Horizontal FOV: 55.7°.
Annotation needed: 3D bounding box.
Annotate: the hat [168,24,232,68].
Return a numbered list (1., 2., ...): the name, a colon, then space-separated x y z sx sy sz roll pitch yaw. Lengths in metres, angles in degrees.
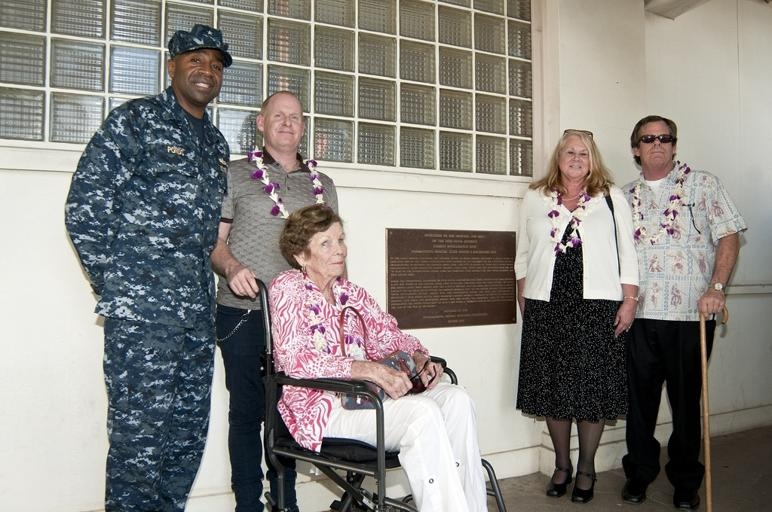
1. hat: -1.124 -1.309 4.514 0.326 0.179 0.378 6 4 -38

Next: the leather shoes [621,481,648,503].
1. leather shoes: 1.795 1.683 5.271 0.151 0.129 0.243 0 4 29

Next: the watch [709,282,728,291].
1. watch: 2.311 0.219 5.070 0.080 0.060 0.073 6 -20 19

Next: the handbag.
1. handbag: -0.024 0.729 4.237 0.401 0.149 0.264 -32 12 -22

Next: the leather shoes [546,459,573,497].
1. leather shoes: 1.269 1.645 5.337 0.112 0.133 0.336 -10 -1 38

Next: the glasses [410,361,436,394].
1. glasses: 0.220 0.719 4.327 0.125 0.172 0.078 31 -16 12

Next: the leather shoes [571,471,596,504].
1. leather shoes: 1.410 1.650 5.236 0.179 0.205 0.127 -1 4 2
